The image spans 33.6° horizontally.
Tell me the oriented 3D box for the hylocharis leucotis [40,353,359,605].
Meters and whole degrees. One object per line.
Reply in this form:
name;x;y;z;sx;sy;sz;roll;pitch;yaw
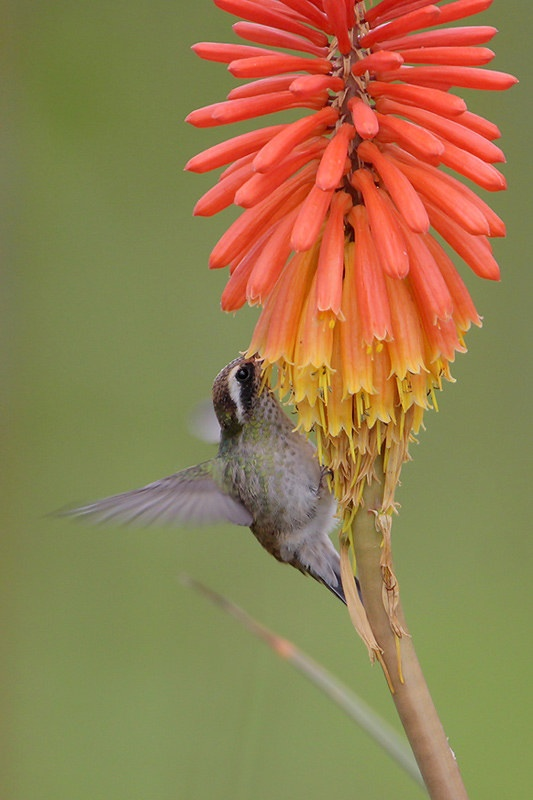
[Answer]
hylocharis leucotis;-0.071;0.128;1.097;0.312;0.243;0.325;2;-14;-43
